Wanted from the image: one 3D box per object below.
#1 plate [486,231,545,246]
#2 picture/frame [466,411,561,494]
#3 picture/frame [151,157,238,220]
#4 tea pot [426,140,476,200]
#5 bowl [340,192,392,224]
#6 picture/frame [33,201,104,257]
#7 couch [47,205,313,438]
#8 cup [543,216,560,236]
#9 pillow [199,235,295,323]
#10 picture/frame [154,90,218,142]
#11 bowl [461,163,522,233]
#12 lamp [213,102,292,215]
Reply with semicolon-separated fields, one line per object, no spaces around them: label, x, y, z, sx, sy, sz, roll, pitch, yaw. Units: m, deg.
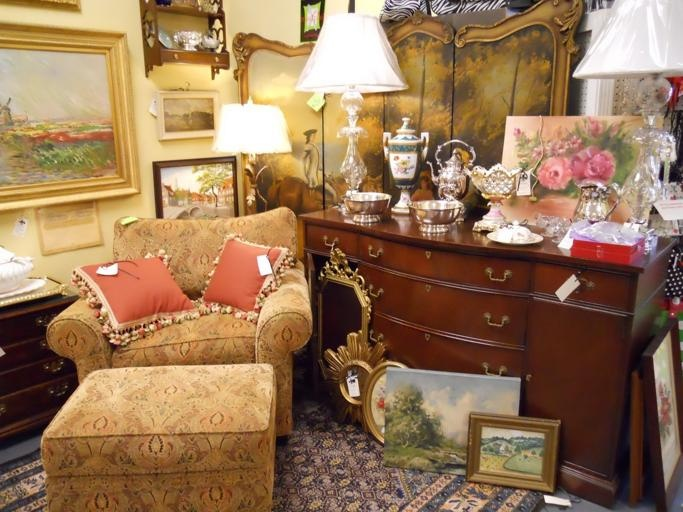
plate;0.836;-0.089;2.420;0.259;0.074;0.134;1;14;13
picture/frame;0.866;0.964;2.497;0.397;0.350;0.040;2;5;16
picture/frame;-1.141;-0.511;3.831;0.512;0.438;0.041;-7;14;-28
tea pot;0.636;-0.499;2.889;0.278;0.351;0.171;15;27;34
bowl;0.146;-0.274;2.926;0.261;0.131;0.262;0;14;0
picture/frame;-1.834;-0.184;3.368;0.330;0.287;0.034;-15;16;-38
couch;-0.810;0.454;3.204;1.493;1.382;1.197;0;7;-1
cup;1.052;-0.148;2.536;0.089;0.101;0.087;0;2;0
pillow;-0.564;0.149;2.998;0.461;0.472;0.127;21;-3;24
picture/frame;-1.176;-1.046;3.761;0.442;0.320;0.033;-13;23;-38
bowl;0.802;-0.339;2.698;0.323;0.358;0.318;0;21;0
lamp;-0.606;-0.771;3.473;0.448;0.626;0.445;-2;22;-16
